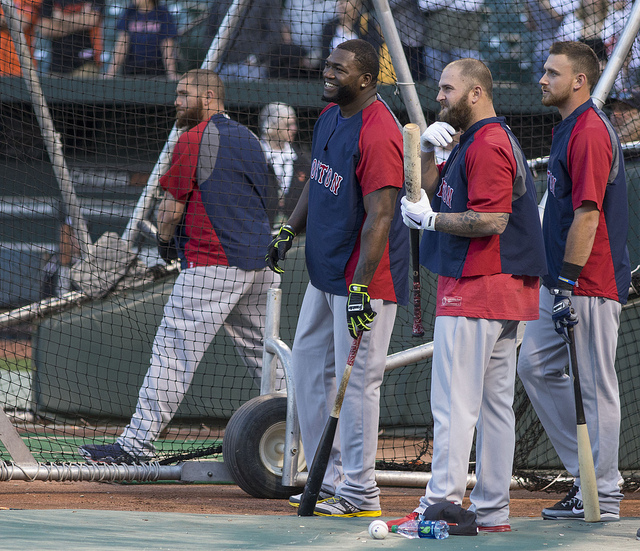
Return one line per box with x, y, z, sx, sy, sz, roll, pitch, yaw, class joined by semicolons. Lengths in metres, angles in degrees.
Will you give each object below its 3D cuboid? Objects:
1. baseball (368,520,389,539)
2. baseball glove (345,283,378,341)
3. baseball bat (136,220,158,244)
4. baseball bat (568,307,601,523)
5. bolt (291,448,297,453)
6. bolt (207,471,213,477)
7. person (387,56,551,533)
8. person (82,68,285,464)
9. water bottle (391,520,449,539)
0.290;1.251;7.302;0.094;0.086;0.101;-4;0;0;baseball
0.217;0.184;7.795;0.150;0.295;0.090;-5;0;1;baseball glove
-1.194;-0.322;10.320;0.051;0.166;0.167;-48;-18;-8;baseball bat
1.404;0.783;7.852;0.089;1.087;0.200;-5;0;10;baseball bat
-0.144;0.993;8.417;0.036;0.026;0.009;-4;0;-37;bolt
-0.640;1.156;8.640;0.030;0.029;0.009;-5;0;-22;bolt
0.800;0.091;7.638;0.774;2.419;0.454;-5;0;2;person
-0.757;0.048;9.116;1.078;2.340;0.372;-5;0;-10;person
0.494;1.264;7.368;0.284;0.087;0.106;-4;0;23;water bottle
